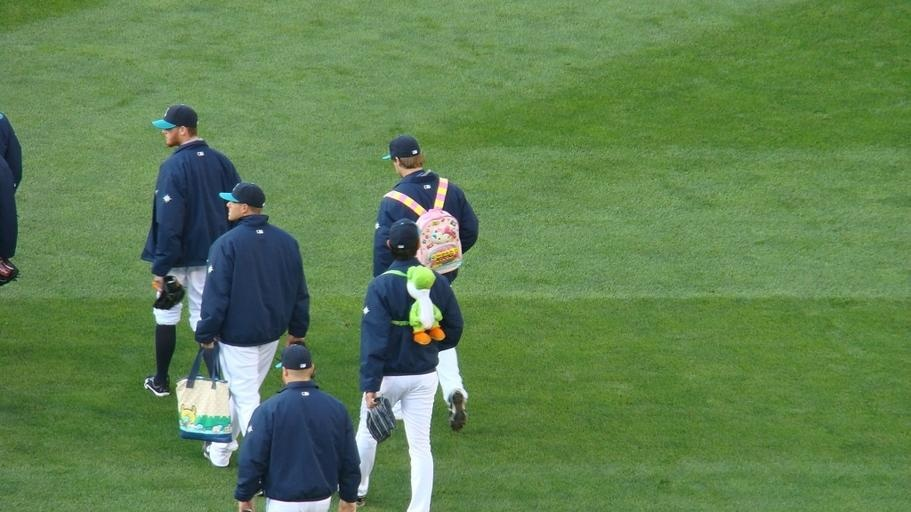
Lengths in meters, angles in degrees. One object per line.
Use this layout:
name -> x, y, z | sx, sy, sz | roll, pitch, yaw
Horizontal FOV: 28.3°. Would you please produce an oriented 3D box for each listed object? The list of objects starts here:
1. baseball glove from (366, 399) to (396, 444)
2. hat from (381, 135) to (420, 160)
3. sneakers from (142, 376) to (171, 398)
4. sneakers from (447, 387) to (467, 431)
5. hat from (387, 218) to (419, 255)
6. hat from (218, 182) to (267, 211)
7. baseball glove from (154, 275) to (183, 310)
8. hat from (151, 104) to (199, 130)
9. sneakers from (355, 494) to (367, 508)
baseball glove -> -1.067, 2.289, 25.307 | 0.472, 0.523, 0.247 | 1, 14, 32
hat -> -0.833, -1.583, 26.349 | 0.380, 0.222, 0.525 | -15, 18, -39
sneakers -> -4.455, 1.908, 27.032 | 0.472, 0.188, 0.212 | 29, 22, 20
sneakers -> 0.057, 2.206, 26.027 | 0.298, 0.561, 0.285 | 2, -3, 2
hat -> -0.735, -0.265, 25.355 | 0.441, 0.488, 0.301 | 3, -37, 3
hat -> -3.054, -0.864, 25.851 | 0.642, 0.250, 0.359 | 6, 11, 8
baseball glove -> -4.189, 0.533, 26.635 | 0.436, 0.487, 0.239 | 30, 7, -3
hat -> -4.105, -2.036, 26.555 | 0.514, 0.354, 0.369 | 8, 10, 39
sneakers -> -1.349, 3.488, 25.874 | 0.185, 0.151, 0.184 | 1, -1, -4
